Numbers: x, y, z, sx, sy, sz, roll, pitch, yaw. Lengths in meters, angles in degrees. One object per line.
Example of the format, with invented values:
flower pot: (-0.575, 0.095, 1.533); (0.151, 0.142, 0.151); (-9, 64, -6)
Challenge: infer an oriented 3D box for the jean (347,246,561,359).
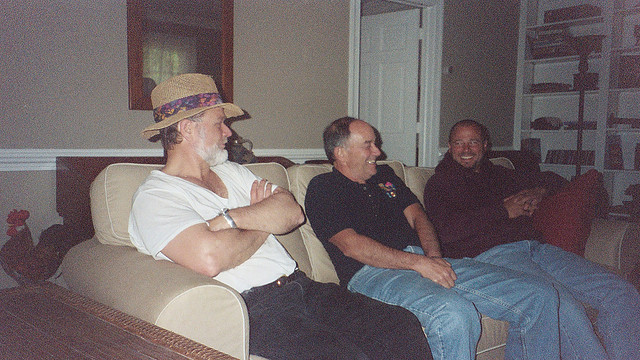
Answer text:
jean: (0.951, 0.806, 3.473); (1.067, 0.341, 0.870); (16, 16, 34)

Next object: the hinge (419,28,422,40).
hinge: (1.158, -1.692, 5.900); (0.035, 0.121, 0.040); (-3, 14, 2)

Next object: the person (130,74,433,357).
person: (-0.363, 0.186, 3.285); (1.749, 1.734, 0.785); (-1, 14, 7)

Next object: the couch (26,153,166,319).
couch: (-1.521, 0.385, 3.470); (0.960, 0.821, 0.518); (-28, 19, -32)

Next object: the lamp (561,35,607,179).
lamp: (3.069, -0.877, 6.033); (0.436, 1.610, 0.785); (4, 15, 26)

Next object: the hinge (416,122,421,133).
hinge: (1.148, -0.617, 5.982); (0.056, 0.116, 0.038); (-3, 14, 1)
